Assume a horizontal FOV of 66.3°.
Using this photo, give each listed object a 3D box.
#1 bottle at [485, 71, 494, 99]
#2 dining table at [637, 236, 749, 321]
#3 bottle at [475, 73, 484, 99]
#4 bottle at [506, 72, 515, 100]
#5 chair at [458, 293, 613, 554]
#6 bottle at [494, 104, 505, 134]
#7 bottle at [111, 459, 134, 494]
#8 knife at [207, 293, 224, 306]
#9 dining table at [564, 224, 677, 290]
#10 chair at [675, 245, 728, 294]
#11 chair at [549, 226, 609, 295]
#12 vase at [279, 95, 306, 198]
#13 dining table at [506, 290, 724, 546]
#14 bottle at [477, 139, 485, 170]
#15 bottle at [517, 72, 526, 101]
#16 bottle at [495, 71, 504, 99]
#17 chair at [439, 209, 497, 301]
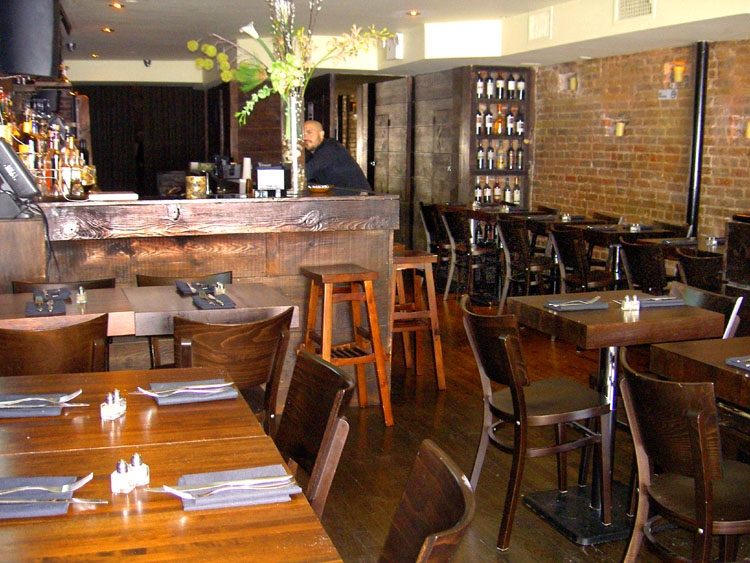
[{"bbox_3d":[1.745,-2.923,8.626,0.164,0.349,0.073,-14,17,-43],"label":"bottle"},{"bbox_3d":[2.328,-0.032,4.160,0.472,0.537,0.615,-8,17,-12],"label":"dining table"},{"bbox_3d":[1.579,-2.905,8.581,0.145,0.324,0.069,-5,12,-10],"label":"bottle"},{"bbox_3d":[2.082,-2.944,8.711,0.143,0.375,0.040,-6,13,-13],"label":"bottle"},{"bbox_3d":[0.822,0.606,2.924,0.723,1.097,1.012,-1,11,8],"label":"chair"},{"bbox_3d":[1.915,-2.464,8.780,0.202,0.430,0.094,-4,12,-6],"label":"bottle"},{"bbox_3d":[-0.546,0.422,1.237,0.051,0.078,0.048,2,13,0],"label":"bottle"},{"bbox_3d":[-0.790,0.083,2.855,0.045,0.010,0.152,-4,16,-26],"label":"knife"},{"bbox_3d":[2.682,-0.331,6.307,0.921,0.717,0.842,-3,8,-19],"label":"dining table"},{"bbox_3d":[2.649,-0.091,4.619,0.345,0.394,0.351,-8,18,-16],"label":"chair"},{"bbox_3d":[2.147,-0.181,6.002,0.572,0.750,0.961,-1,11,8],"label":"chair"},{"bbox_3d":[-0.572,-0.960,4.030,0.172,0.704,0.306,-5,12,-7],"label":"vase"},{"bbox_3d":[1.236,0.561,3.520,1.201,1.466,1.138,-3,13,-18],"label":"dining table"},{"bbox_3d":[1.626,-1.906,8.743,0.146,0.428,0.051,-11,15,-33],"label":"bottle"},{"bbox_3d":[2.250,-2.927,8.741,0.132,0.344,0.042,-3,12,1],"label":"bottle"},{"bbox_3d":[1.907,-2.943,8.674,0.141,0.377,0.061,-3,12,0],"label":"bottle"},{"bbox_3d":[1.254,-0.407,7.654,0.702,1.131,1.246,-1,11,11],"label":"chair"}]
